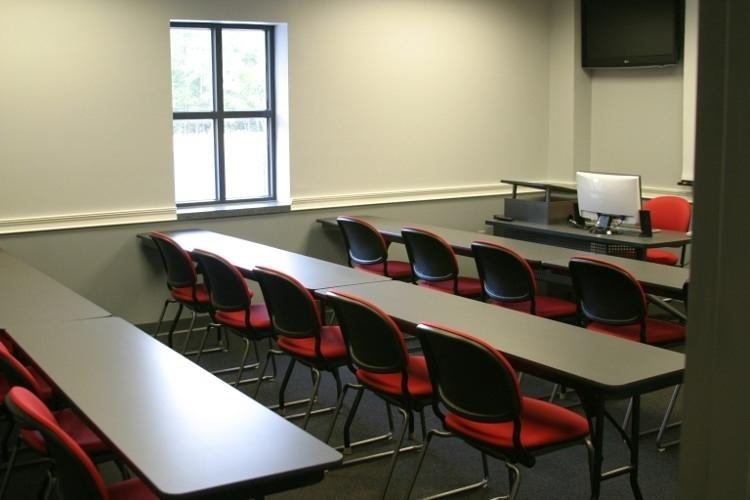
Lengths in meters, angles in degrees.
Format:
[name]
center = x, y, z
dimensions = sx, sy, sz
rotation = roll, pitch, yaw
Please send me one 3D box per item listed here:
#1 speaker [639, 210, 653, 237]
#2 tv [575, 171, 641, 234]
[speaker]
center = 2.427, -0.230, 5.105
dimensions = 0.111, 0.373, 0.145
rotation = -1, 19, 22
[tv]
center = 2.115, -0.420, 5.210
dimensions = 0.208, 0.548, 0.595
rotation = -17, 19, -36
